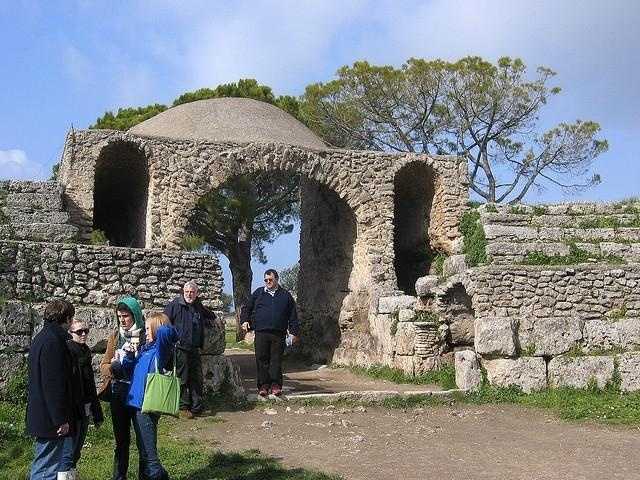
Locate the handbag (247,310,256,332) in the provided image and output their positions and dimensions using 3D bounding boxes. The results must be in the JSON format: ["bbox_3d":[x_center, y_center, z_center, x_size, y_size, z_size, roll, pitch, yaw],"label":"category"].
[{"bbox_3d":[-1.025,1.212,11.320,0.082,0.243,0.164,7,2,-27],"label":"handbag"}]

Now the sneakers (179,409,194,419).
[{"bbox_3d":[-1.881,2.420,10.506,0.236,0.091,0.134,3,3,35],"label":"sneakers"}]

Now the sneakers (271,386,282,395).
[{"bbox_3d":[-0.680,2.302,11.522,0.111,0.093,0.131,2,-20,-3],"label":"sneakers"}]

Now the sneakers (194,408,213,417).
[{"bbox_3d":[-1.652,2.438,10.591,0.258,0.092,0.190,-7,-38,-15],"label":"sneakers"}]

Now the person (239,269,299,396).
[{"bbox_3d":[-0.777,1.410,11.349,0.853,1.960,0.726,1,2,-5],"label":"person"}]

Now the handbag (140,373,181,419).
[{"bbox_3d":[-1.690,1.616,7.873,0.376,0.516,0.151,8,-23,-13],"label":"handbag"}]
